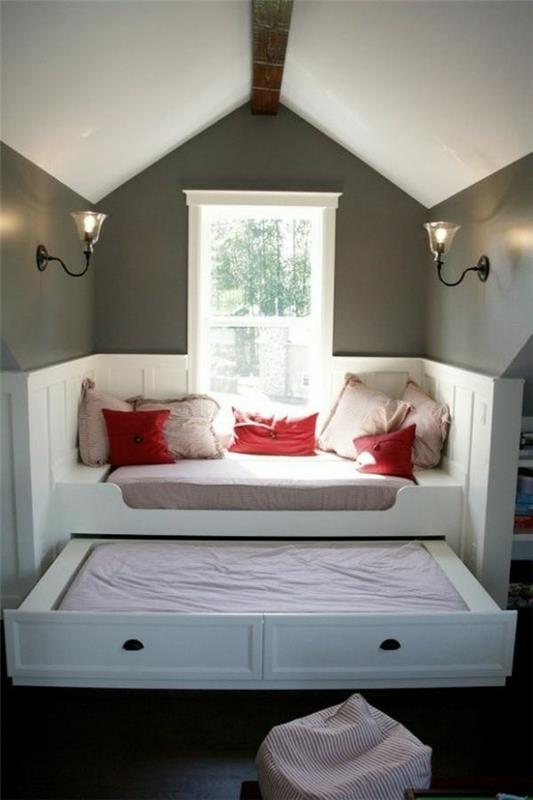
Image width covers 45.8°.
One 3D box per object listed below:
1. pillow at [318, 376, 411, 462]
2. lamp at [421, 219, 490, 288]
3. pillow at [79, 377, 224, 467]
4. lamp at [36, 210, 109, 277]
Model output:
[{"bbox_3d":[0.525,0.133,3.373,0.120,0.412,0.386,17,12,-36],"label":"pillow"},{"bbox_3d":[0.813,-0.621,2.736,0.304,0.260,0.144,8,4,-8],"label":"lamp"},{"bbox_3d":[-0.585,0.095,3.189,0.536,0.495,0.182,1,-27,-25],"label":"pillow"},{"bbox_3d":[-0.825,-0.646,2.681,0.266,0.283,0.148,0,3,-4],"label":"lamp"}]
